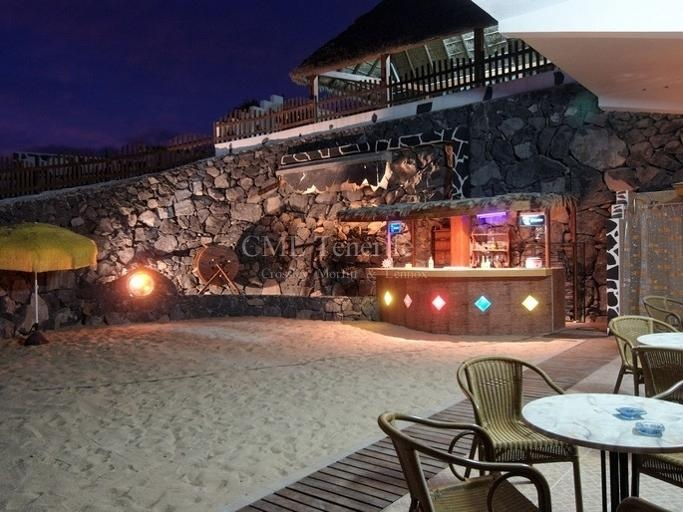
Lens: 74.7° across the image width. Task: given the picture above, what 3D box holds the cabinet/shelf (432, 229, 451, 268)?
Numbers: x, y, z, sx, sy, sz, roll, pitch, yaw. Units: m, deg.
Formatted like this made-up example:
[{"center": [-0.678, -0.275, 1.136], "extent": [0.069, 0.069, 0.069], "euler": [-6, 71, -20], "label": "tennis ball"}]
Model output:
[{"center": [2.952, -0.285, 13.418], "extent": [0.541, 1.128, 0.360], "euler": [-2, 1, 11], "label": "cabinet/shelf"}]

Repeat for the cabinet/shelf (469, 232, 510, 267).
[{"center": [4.144, -0.160, 12.500], "extent": [1.091, 1.090, 0.408], "euler": [-2, -5, 35], "label": "cabinet/shelf"}]
